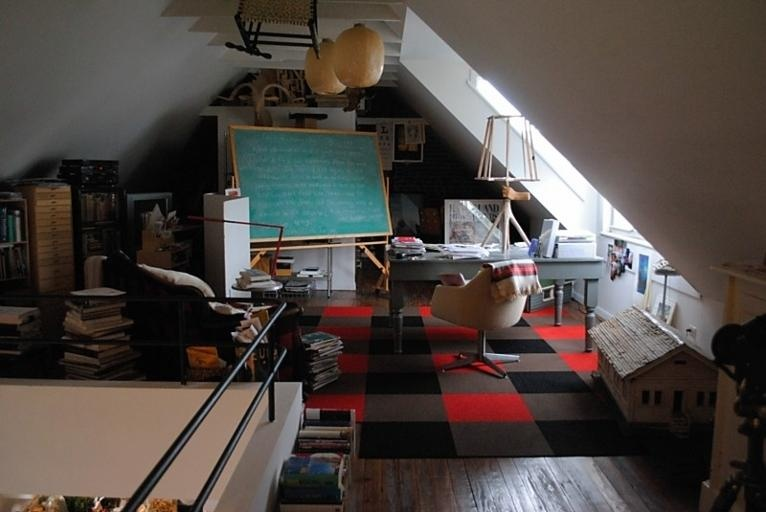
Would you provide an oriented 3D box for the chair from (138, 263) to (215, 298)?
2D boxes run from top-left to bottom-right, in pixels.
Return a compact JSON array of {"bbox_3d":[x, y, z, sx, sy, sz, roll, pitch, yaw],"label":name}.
[{"bbox_3d":[-1.861,0.212,4.912,0.637,0.268,0.333,2,7,7],"label":"chair"}]

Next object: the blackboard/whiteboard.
[{"bbox_3d":[-0.991,-1.032,7.723,2.216,1.639,0.089,-4,-8,-25],"label":"blackboard/whiteboard"}]

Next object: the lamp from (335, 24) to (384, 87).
[{"bbox_3d":[-0.143,-1.497,4.066,0.393,0.514,0.411,2,10,8],"label":"lamp"}]

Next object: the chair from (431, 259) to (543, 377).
[{"bbox_3d":[0.991,0.576,5.570,1.041,1.130,1.096,-1,5,-6],"label":"chair"}]

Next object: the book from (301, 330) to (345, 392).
[{"bbox_3d":[-0.627,0.994,5.229,0.397,0.186,0.475,-2,9,-28],"label":"book"}]

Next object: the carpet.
[{"bbox_3d":[0.770,1.162,5.755,2.931,0.424,3.182,1,7,-1],"label":"carpet"}]

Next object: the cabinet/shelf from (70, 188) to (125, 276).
[{"bbox_3d":[-4.016,-0.451,7.546,0.825,1.182,0.813,1,17,-19],"label":"cabinet/shelf"}]

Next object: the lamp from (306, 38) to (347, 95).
[{"bbox_3d":[-0.474,-1.499,4.345,0.372,0.469,0.373,0,10,1],"label":"lamp"}]
